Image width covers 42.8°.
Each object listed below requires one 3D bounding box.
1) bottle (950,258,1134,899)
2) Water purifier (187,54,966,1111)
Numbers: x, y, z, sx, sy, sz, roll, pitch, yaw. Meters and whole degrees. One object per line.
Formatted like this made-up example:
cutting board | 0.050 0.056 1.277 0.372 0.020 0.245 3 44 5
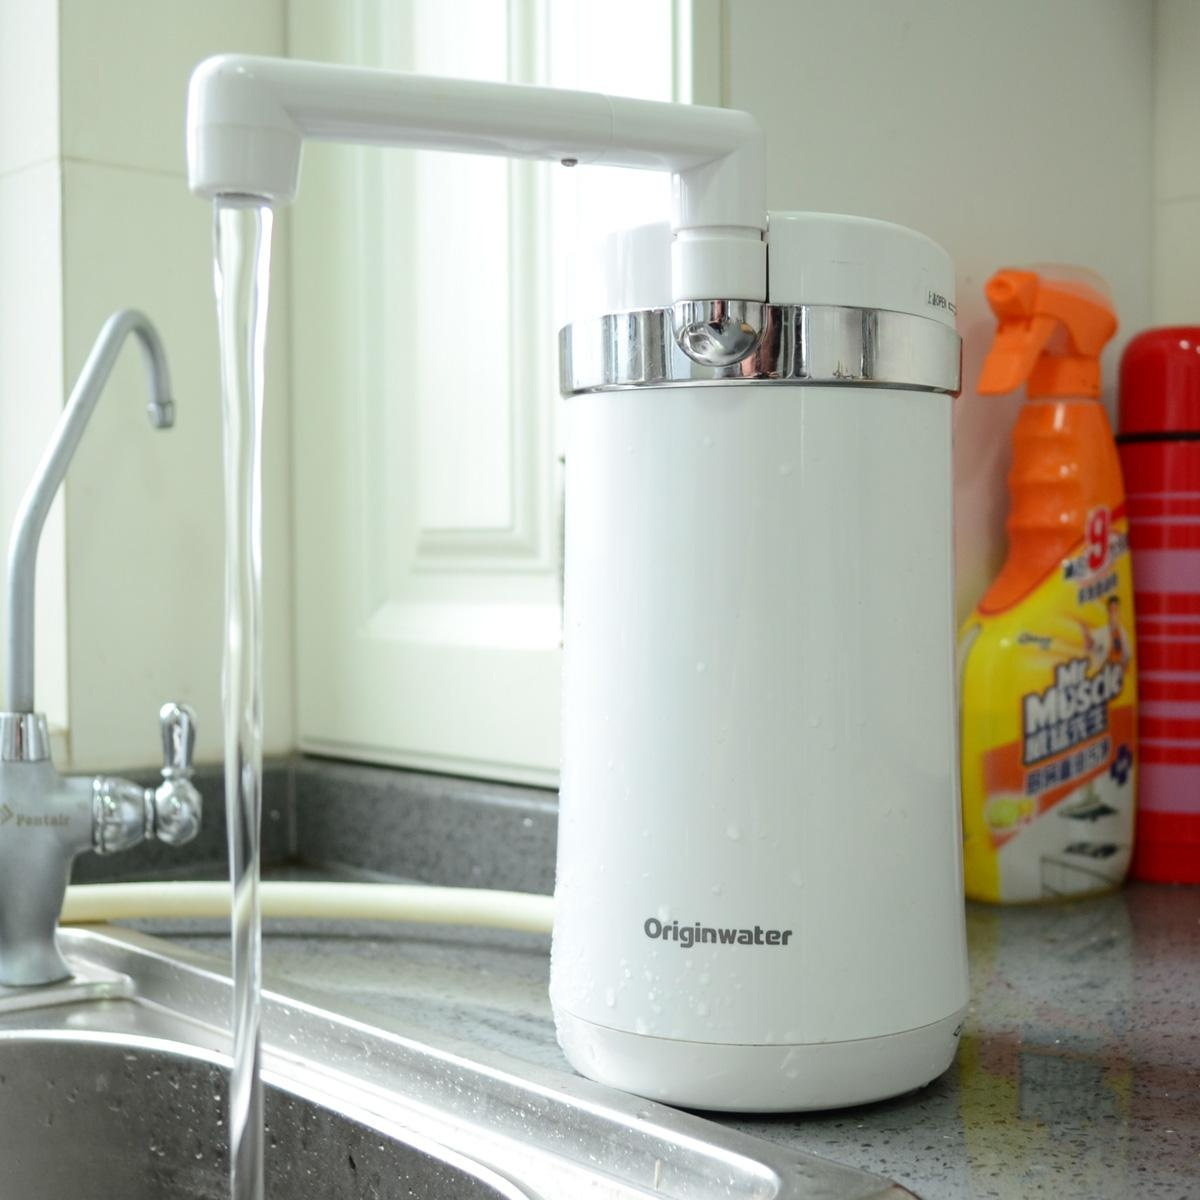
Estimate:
bottle | 0.242 -0.010 0.819 0.133 0.336 0.053 -3 2 -28
Water purifier | 0.034 -0.009 0.674 0.333 0.538 0.208 3 3 23
